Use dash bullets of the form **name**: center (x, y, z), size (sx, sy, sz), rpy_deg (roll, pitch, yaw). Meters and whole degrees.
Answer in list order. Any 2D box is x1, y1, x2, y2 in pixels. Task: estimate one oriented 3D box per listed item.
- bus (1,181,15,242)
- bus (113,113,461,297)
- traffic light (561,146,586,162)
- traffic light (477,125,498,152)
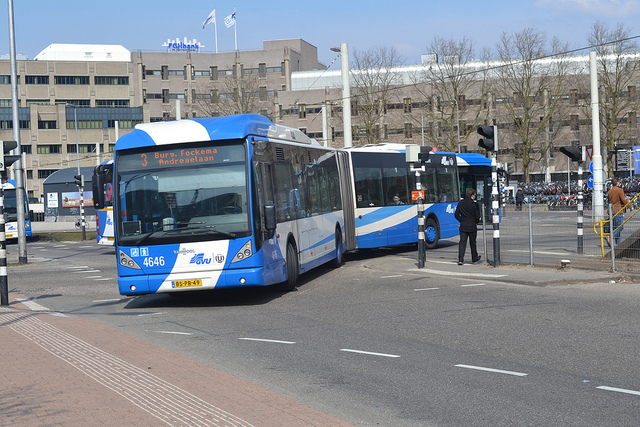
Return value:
- **bus**: center (-17.480, -0.086, 43.779), size (0.641, 3.055, 2.756), rpy_deg (-5, 6, -22)
- **bus**: center (0.500, -0.113, 25.056), size (4.187, 4.712, 18.372), rpy_deg (-4, -2, 24)
- **traffic light**: center (7.525, -1.769, 22.924), size (0.919, 0.547, 0.483), rpy_deg (-5, 4, -33)
- **traffic light**: center (4.584, -2.048, 21.169), size (0.487, 0.735, 0.424), rpy_deg (-1, -4, 10)
